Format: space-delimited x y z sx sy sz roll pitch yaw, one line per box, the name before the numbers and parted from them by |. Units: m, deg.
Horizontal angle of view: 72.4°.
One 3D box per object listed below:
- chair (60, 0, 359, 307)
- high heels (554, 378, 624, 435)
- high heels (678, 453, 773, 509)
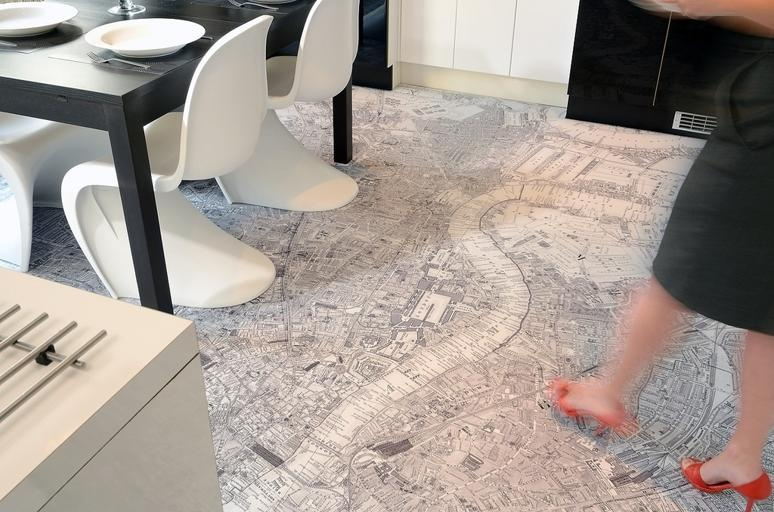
chair | -0.792 -0.430 2.287 0.798 0.965 1.323 20 40 18
high heels | 0.684 0.518 1.900 0.296 0.094 0.113 20 13 27
high heels | 1.067 0.710 1.660 0.256 0.111 0.081 27 55 24
